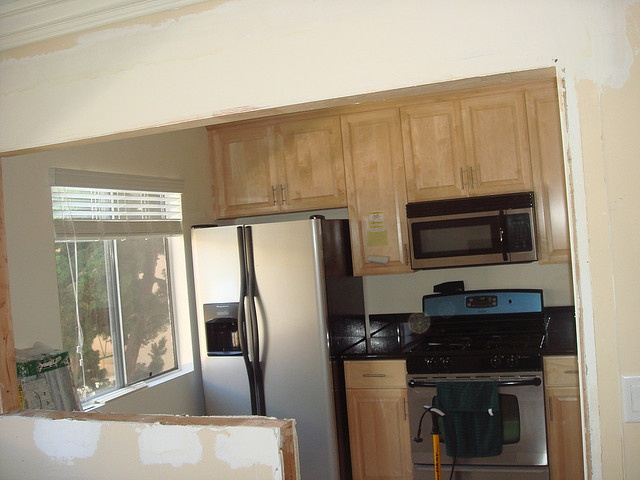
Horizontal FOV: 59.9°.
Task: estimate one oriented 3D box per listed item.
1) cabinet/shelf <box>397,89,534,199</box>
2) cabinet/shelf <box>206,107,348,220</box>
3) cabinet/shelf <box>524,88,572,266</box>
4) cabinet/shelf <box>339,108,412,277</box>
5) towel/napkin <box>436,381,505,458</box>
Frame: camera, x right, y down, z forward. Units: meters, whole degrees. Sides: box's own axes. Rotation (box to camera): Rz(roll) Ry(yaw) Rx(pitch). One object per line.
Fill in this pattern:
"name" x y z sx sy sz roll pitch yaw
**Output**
"cabinet/shelf" 1.002 -0.606 3.643 0.862 0.669 0.321 -2 9 35
"cabinet/shelf" -0.364 -0.526 4.009 1.038 0.664 0.342 -10 12 -27
"cabinet/shelf" 1.401 -0.407 3.432 0.173 1.135 0.129 -5 -2 28
"cabinet/shelf" 0.399 -0.311 3.714 0.464 1.111 0.138 -1 6 43
"towel/napkin" 0.852 1.013 3.325 0.460 0.560 0.424 -2 -6 13
